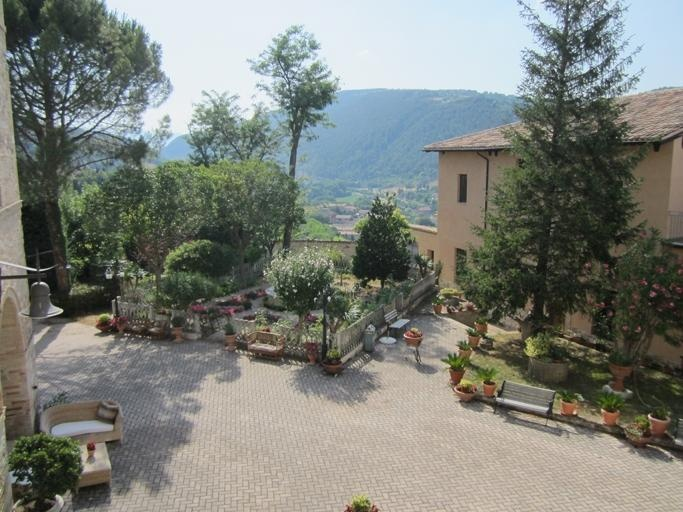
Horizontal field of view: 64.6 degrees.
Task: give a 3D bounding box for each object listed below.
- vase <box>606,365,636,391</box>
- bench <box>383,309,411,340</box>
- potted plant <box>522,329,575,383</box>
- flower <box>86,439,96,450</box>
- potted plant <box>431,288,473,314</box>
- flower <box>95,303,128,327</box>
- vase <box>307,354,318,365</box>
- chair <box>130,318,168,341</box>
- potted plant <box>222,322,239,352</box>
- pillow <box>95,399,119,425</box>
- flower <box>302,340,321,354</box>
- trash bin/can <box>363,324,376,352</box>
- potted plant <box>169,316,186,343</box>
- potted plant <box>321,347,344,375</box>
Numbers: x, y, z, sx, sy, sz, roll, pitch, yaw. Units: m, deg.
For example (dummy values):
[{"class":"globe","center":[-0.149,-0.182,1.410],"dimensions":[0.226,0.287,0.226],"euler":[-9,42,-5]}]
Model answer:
[{"class":"vase","center":[10.418,4.537,20.431],"dimensions":[0.899,1.136,0.937],"euler":[4,-2,2]},{"class":"bench","center":[2.646,3.264,26.041],"dimensions":[1.207,1.135,2.587],"euler":[2,3,7]},{"class":"potted plant","center":[8.195,4.084,21.706],"dimensions":[1.543,2.004,1.695],"euler":[0,8,7]},{"class":"flower","center":[-7.432,5.615,16.072],"dimensions":[0.220,0.287,0.254],"euler":[5,6,16]},{"class":"potted plant","center":[6.093,2.586,29.915],"dimensions":[1.322,0.620,1.586],"euler":[-1,20,0]},{"class":"flower","center":[-10.956,3.011,26.179],"dimensions":[1.245,0.838,1.193],"euler":[-1,-2,5]},{"class":"vase","center":[-1.203,4.313,22.472],"dimensions":[0.333,0.310,0.378],"euler":[3,-3,14]},{"class":"chair","center":[-8.961,3.445,25.411],"dimensions":[1.270,0.653,1.043],"euler":[4,17,9]},{"class":"potted plant","center":[-4.918,3.587,24.124],"dimensions":[0.528,1.202,0.449],"euler":[0,4,-10]},{"class":"pillow","center":[-7.389,4.975,17.207],"dimensions":[0.591,0.751,0.312],"euler":[0,-9,14]},{"class":"flower","center":[-1.227,3.788,22.523],"dimensions":[0.479,0.372,0.512],"euler":[2,5,26]},{"class":"trash bin/can","center":[1.250,3.676,24.056],"dimensions":[0.525,1.129,0.668],"euler":[2,4,21]},{"class":"potted plant","center":[-7.574,3.351,25.043],"dimensions":[0.555,1.211,0.674],"euler":[0,4,-8]},{"class":"potted plant","center":[-0.419,4.261,21.999],"dimensions":[0.818,1.059,0.852],"euler":[0,2,-2]}]
